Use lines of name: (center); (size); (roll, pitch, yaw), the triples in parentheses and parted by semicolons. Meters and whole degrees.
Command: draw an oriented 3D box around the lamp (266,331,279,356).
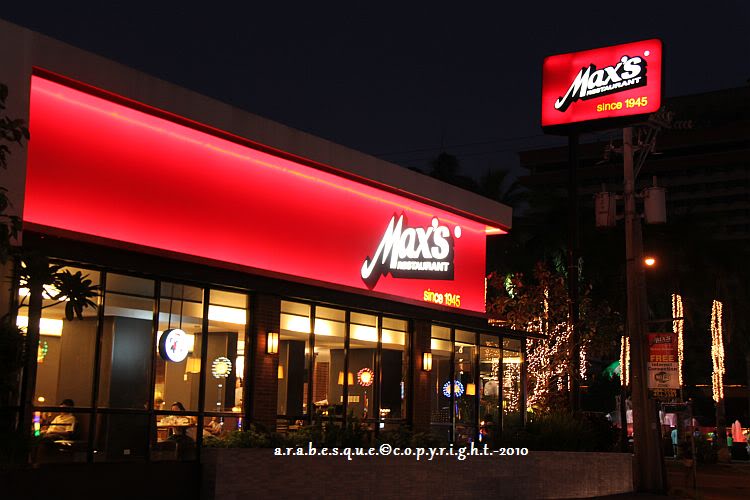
lamp: (-2.832, 2.552, 19.087); (0.090, 0.640, 0.368); (-16, -24, 42)

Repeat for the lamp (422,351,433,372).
lamp: (1.777, 3.759, 23.200); (0.163, 0.634, 0.682); (-5, -19, 18)
